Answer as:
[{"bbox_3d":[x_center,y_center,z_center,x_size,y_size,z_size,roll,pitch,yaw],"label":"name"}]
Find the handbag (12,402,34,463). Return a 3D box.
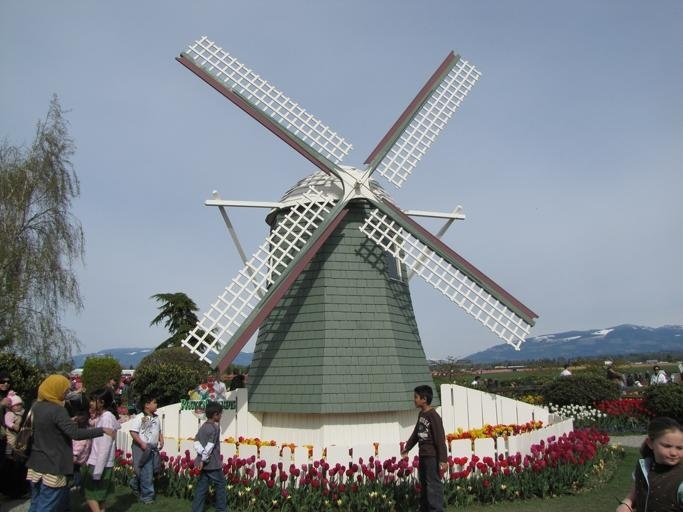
[{"bbox_3d":[-4.749,2.662,9.872,0.205,0.767,0.835,13,-21,-26],"label":"handbag"}]

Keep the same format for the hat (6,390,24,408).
[{"bbox_3d":[-5.773,2.521,11.606,0.198,0.205,0.254,5,-14,-27],"label":"hat"}]
